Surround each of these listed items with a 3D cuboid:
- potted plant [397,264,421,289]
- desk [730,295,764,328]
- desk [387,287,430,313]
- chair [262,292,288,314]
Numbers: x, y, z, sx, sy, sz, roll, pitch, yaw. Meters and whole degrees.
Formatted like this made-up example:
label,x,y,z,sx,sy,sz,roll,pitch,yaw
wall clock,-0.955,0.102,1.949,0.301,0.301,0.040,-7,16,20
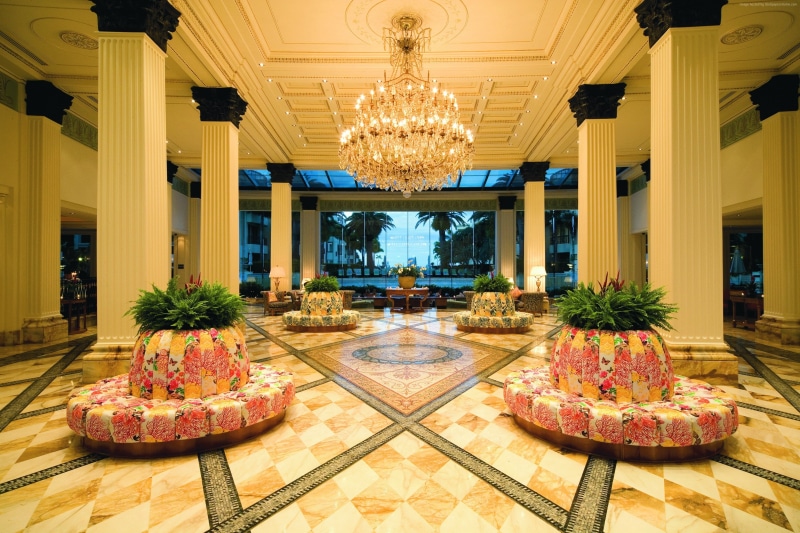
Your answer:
label,x,y,z,sx,sy,sz,roll,pitch,yaw
potted plant,0.299,0.338,15.234,0.728,0.701,0.729,2,3,19
desk,8.778,1.153,11.816,0.604,0.673,0.747,21,-18,-37
desk,0.214,1.105,15.767,1.371,0.635,1.639,-3,-2,-3
chair,-3.813,1.147,14.422,0.758,0.644,0.733,4,-8,-33
